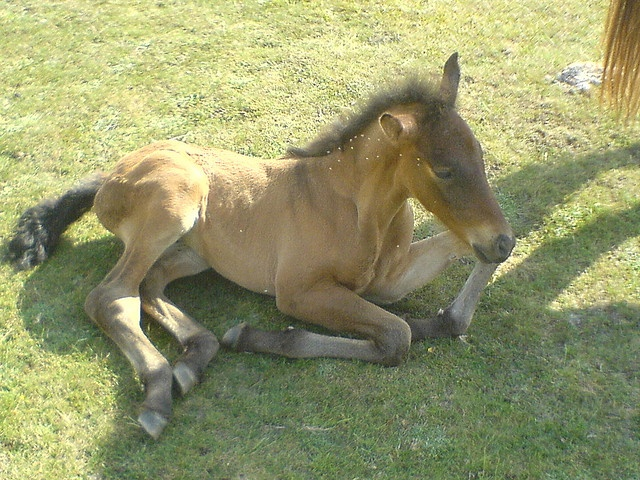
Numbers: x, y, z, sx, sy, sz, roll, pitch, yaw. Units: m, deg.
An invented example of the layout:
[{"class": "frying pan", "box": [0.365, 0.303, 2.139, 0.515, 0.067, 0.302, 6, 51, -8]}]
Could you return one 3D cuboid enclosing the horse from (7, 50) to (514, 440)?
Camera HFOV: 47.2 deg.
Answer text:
[{"class": "horse", "box": [-0.325, -0.398, 7.953, 4.631, 3.446, 2.581, 17, 18, 14]}]
